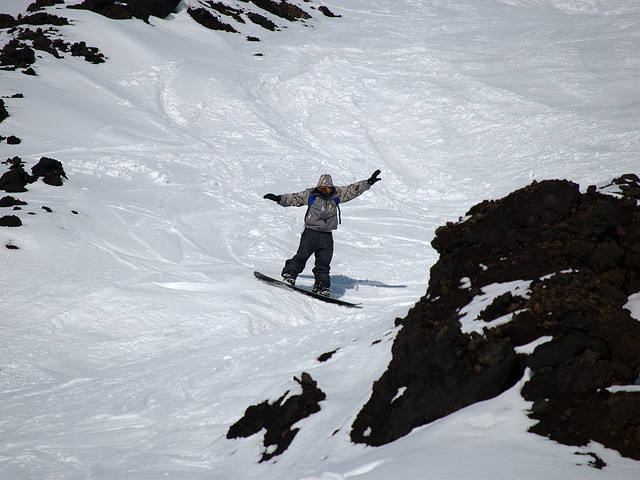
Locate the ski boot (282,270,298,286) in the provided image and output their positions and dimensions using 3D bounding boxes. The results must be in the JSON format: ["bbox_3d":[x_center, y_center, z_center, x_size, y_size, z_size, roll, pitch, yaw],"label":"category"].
[{"bbox_3d":[-0.944,1.077,26.775,0.370,0.411,0.386,29,34,-15],"label":"ski boot"}]

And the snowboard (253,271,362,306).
[{"bbox_3d":[-0.517,1.436,26.940,3.784,0.143,0.431,11,1,2],"label":"snowboard"}]
